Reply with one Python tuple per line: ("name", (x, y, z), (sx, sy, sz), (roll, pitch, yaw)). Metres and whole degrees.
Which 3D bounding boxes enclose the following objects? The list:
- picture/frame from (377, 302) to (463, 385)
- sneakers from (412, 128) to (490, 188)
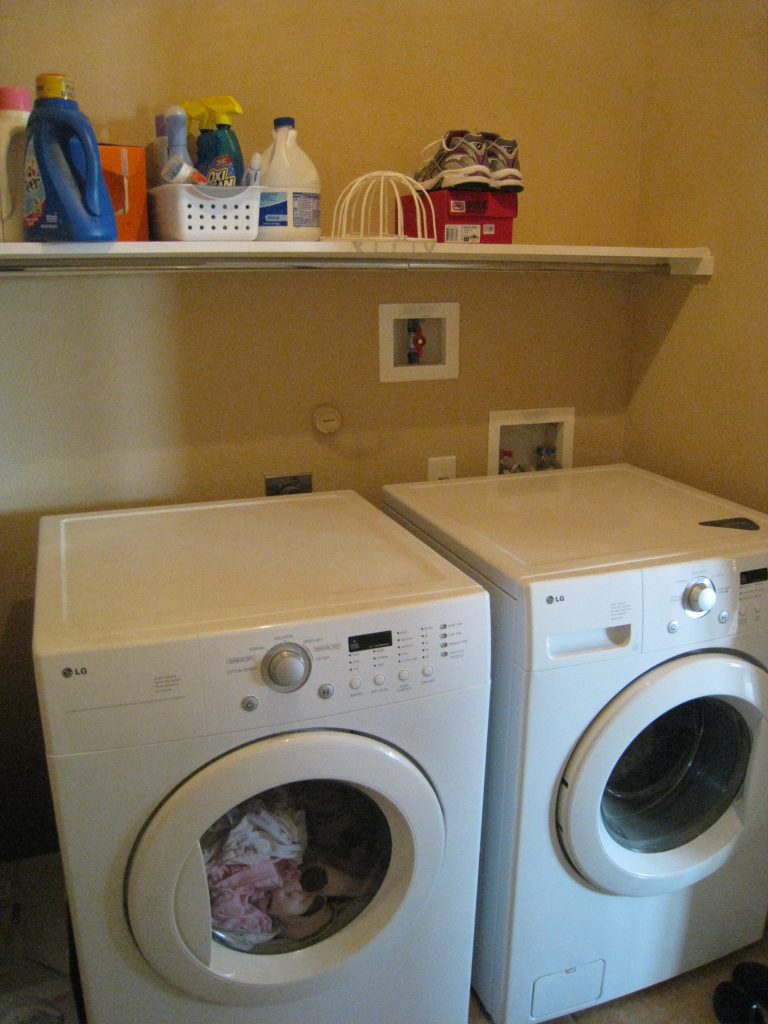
("picture/frame", (0.070, -0.374, 1.788), (0.171, 0.148, 0.018), (-5, 18, -19))
("sneakers", (0.125, -0.650, 1.522), (0.157, 0.104, 0.120), (3, 14, 10))
